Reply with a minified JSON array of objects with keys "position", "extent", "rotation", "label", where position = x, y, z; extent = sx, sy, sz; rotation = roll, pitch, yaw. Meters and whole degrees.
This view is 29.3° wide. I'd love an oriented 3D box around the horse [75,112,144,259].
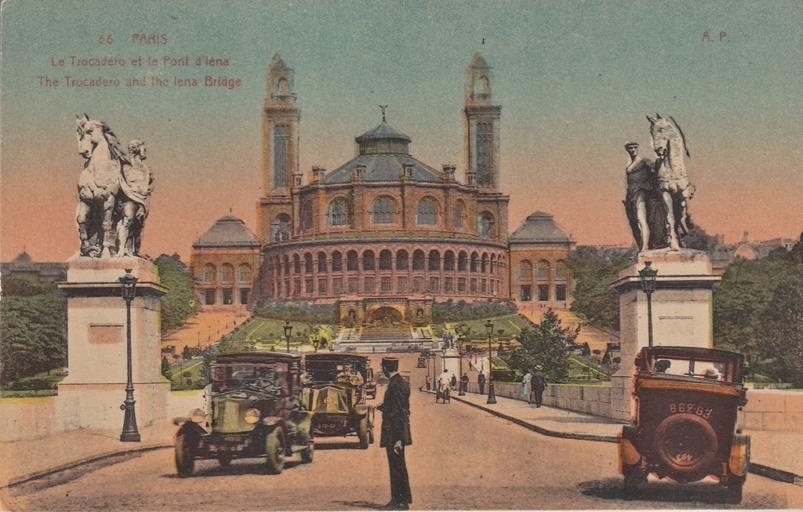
[{"position":[-14.564,-3.514,77.348],"extent":[3.607,7.193,1.561],"rotation":[1,-9,-8],"label":"horse"}]
